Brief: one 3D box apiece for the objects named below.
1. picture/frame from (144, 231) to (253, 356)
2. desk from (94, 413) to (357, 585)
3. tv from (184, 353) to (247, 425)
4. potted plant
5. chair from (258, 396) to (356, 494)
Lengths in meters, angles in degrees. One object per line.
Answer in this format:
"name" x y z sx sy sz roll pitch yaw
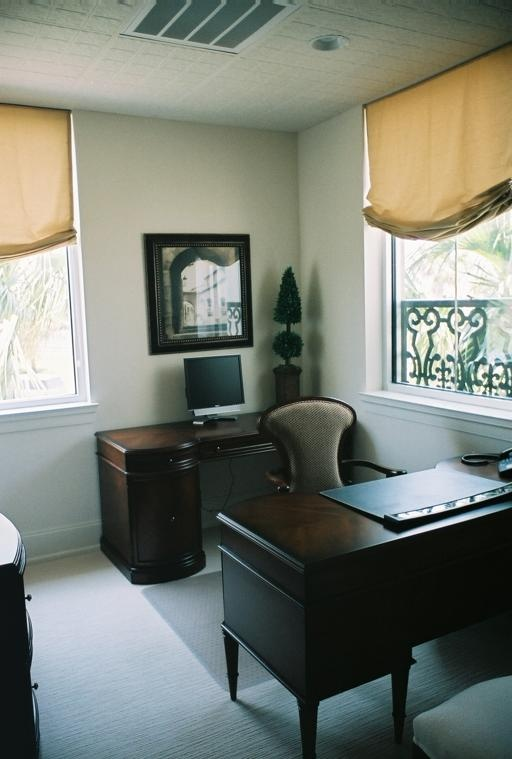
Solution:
"picture/frame" -0.400 -0.566 3.786 0.810 0.792 0.040 -5 8 -35
"desk" -0.326 0.665 3.556 1.165 0.717 0.592 -6 9 -38
"tv" -0.271 0.063 3.697 0.434 0.450 0.136 -4 1 -29
"potted plant" 0.212 -0.304 4.039 0.208 0.945 0.368 -2 4 3
"chair" 0.276 0.270 2.971 0.429 0.632 0.420 -5 8 -20
